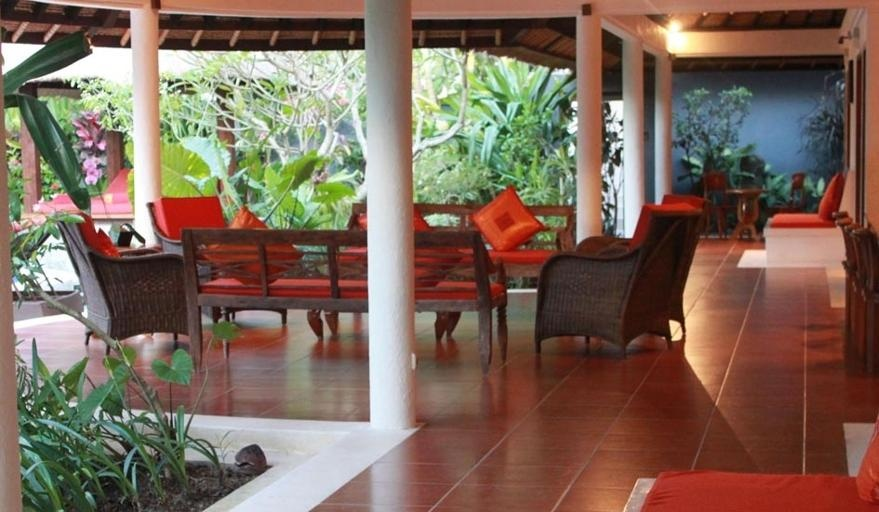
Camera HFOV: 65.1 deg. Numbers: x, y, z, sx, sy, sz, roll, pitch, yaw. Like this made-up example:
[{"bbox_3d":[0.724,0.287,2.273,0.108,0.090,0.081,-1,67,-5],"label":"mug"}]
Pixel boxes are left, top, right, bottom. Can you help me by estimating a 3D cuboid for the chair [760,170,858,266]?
[{"bbox_3d":[5.781,-0.590,10.888,1.115,1.389,1.519,2,7,27],"label":"chair"}]
